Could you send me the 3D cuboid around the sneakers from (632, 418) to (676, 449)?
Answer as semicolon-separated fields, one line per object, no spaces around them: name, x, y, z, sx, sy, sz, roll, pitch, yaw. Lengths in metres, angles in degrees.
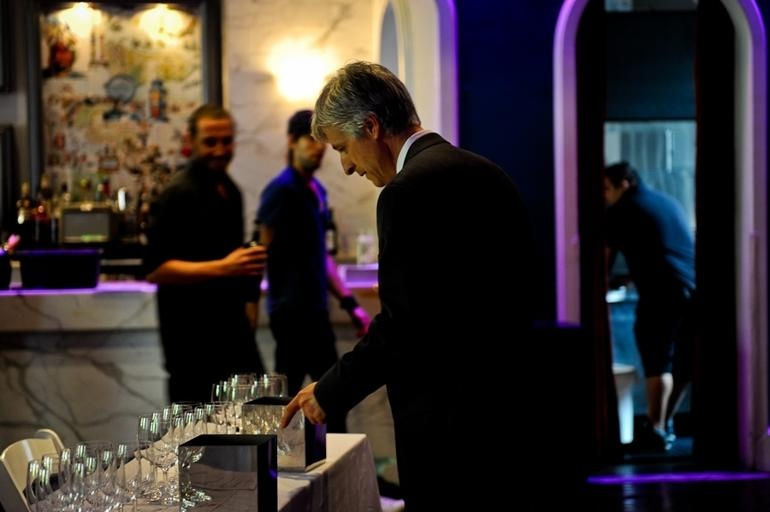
sneakers;1.987;1.349;6.140;0.422;0.155;0.143;-1;0;5

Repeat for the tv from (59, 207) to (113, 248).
tv;-2.299;-0.225;6.382;0.322;0.205;0.322;2;-5;-25

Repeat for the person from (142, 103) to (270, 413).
person;-1.285;-0.032;6.001;0.831;2.190;0.360;1;-1;-9
